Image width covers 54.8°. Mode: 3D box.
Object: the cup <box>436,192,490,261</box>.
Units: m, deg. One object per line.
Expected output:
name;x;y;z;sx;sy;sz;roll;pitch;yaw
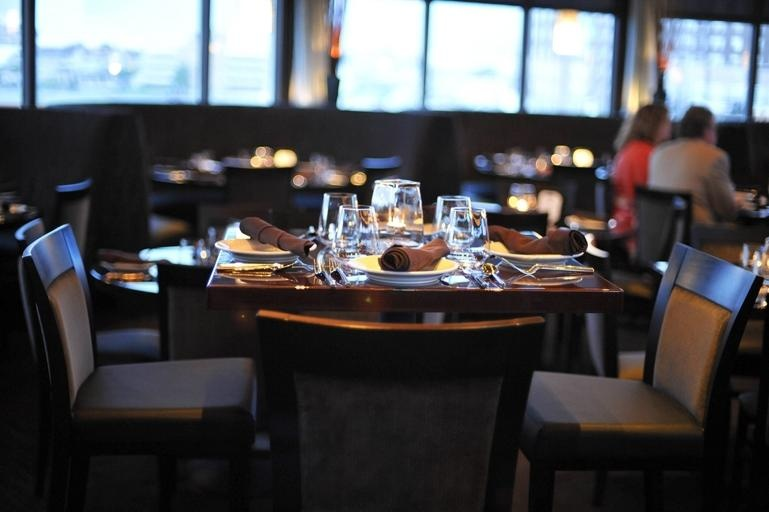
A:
cup;0.276;-0.097;2.599;0.181;0.212;0.218;0;12;-3

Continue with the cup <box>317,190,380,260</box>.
cup;-0.135;-0.111;2.522;0.217;0.214;0.217;0;5;0

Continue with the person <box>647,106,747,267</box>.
person;1.928;-0.489;4.528;0.539;0.847;0.781;4;13;13

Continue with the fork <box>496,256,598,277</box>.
fork;0.538;0.036;2.534;0.329;0.061;0.060;4;1;11

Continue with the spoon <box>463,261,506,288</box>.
spoon;0.335;0.063;2.464;0.069;0.021;0.119;0;20;-15

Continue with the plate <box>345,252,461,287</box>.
plate;0.061;0.035;2.426;0.368;0.085;0.185;1;12;0
